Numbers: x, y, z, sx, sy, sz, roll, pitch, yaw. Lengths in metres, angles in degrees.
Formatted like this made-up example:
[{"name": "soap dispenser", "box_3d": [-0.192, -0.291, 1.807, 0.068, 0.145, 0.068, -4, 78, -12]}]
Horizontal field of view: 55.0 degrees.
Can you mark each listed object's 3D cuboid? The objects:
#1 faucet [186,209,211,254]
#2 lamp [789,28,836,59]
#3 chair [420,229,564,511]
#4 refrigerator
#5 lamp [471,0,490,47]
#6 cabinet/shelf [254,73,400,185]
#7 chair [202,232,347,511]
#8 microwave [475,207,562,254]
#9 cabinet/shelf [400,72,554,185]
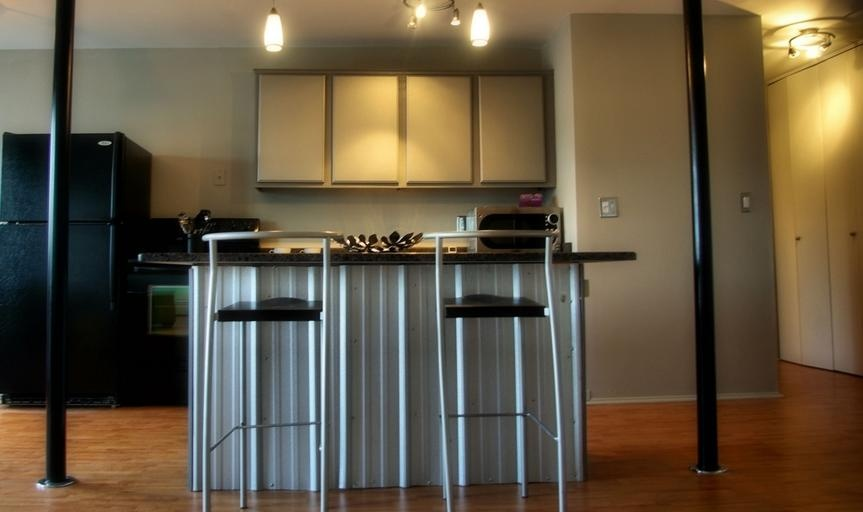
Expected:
[{"name": "faucet", "box_3d": [-1.789, -0.177, 6.382, 0.297, 0.335, 0.137, -4, -9, 43]}, {"name": "lamp", "box_3d": [3.636, -1.992, 7.889, 0.491, 0.192, 0.348, 0, -1, -24]}, {"name": "chair", "box_3d": [0.464, 0.808, 5.917, 0.978, 1.999, 0.598, -1, -2, 6]}, {"name": "refrigerator", "box_3d": [-3.231, 0.116, 7.423, 1.194, 2.418, 0.363, 0, -2, -4]}, {"name": "lamp", "box_3d": [0.389, -1.820, 6.523, 0.136, 0.348, 0.233, -1, -2, 0]}, {"name": "cabinet/shelf", "box_3d": [-1.002, -1.189, 7.718, 1.087, 0.799, 0.368, 0, -3, -2]}, {"name": "chair", "box_3d": [-1.137, 0.815, 5.859, 0.980, 1.988, 0.602, 0, -2, -9]}, {"name": "microwave", "box_3d": [0.782, -0.176, 6.985, 0.743, 0.438, 0.473, -2, -7, 18]}, {"name": "cabinet/shelf", "box_3d": [0.397, -1.185, 7.756, 1.087, 0.765, 0.368, 0, -5, 0]}]
